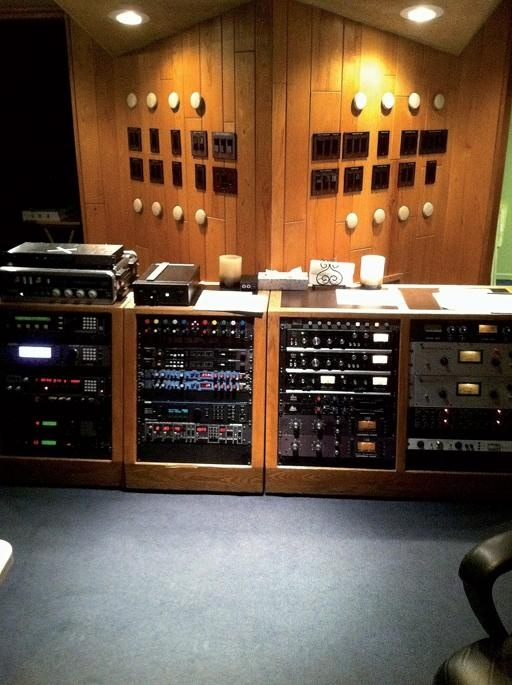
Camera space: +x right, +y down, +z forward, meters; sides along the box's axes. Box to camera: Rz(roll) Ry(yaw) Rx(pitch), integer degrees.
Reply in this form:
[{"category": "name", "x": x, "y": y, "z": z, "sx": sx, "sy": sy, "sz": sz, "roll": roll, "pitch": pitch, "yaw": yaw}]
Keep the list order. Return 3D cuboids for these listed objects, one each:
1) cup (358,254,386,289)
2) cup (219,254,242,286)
[{"category": "cup", "x": 0.672, "y": -0.428, "z": 3.212, "sx": 0.184, "sy": 0.202, "sz": 0.183, "roll": 1, "pitch": 12, "yaw": 0}, {"category": "cup", "x": -0.129, "y": -0.436, "z": 3.128, "sx": 0.162, "sy": 0.179, "sz": 0.162, "roll": 1, "pitch": 18, "yaw": 0}]
